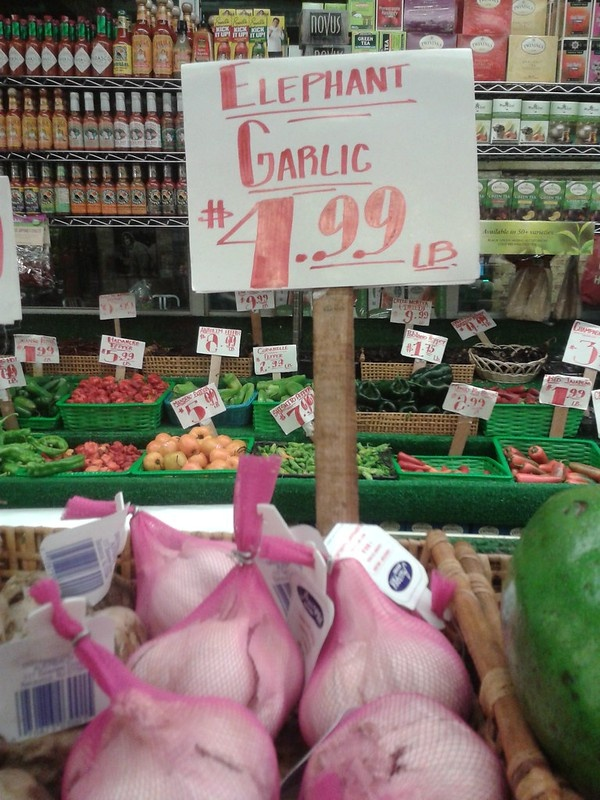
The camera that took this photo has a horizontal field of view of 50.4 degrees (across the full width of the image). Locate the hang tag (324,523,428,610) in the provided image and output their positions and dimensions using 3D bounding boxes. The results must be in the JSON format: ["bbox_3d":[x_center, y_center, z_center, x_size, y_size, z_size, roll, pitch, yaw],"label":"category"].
[{"bbox_3d":[0.125,0.269,1.126,0.116,0.044,0.188,-19,55,-36],"label":"hang tag"}]

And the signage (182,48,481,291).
[{"bbox_3d":[0.066,-0.430,1.190,0.467,0.346,0.063,-3,10,3],"label":"signage"}]

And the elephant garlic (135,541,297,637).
[{"bbox_3d":[-0.171,0.336,1.247,0.246,0.136,0.188,-43,10,-20],"label":"elephant garlic"}]

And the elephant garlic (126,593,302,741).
[{"bbox_3d":[-0.145,0.418,1.016,0.225,0.111,0.186,26,0,28],"label":"elephant garlic"}]

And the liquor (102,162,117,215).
[{"bbox_3d":[-1.389,-1.523,4.614,0.114,0.346,0.146,-10,21,-21],"label":"liquor"}]

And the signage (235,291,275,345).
[{"bbox_3d":[-0.348,-0.666,4.998,0.287,0.497,0.039,-8,42,-7],"label":"signage"}]

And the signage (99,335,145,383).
[{"bbox_3d":[-1.244,-0.287,4.438,0.350,0.336,0.058,7,-6,-6],"label":"signage"}]

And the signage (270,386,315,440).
[{"bbox_3d":[-0.025,0.052,3.492,0.245,0.101,0.242,-32,12,2],"label":"signage"}]

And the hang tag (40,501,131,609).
[{"bbox_3d":[-0.341,0.261,1.047,0.155,0.170,0.048,-20,26,-41],"label":"hang tag"}]

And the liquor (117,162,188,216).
[{"bbox_3d":[-1.081,-1.539,4.670,0.503,0.365,0.325,-4,19,-5],"label":"liquor"}]

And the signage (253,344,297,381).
[{"bbox_3d":[-0.161,-0.254,4.161,0.305,0.282,0.041,-2,29,-1],"label":"signage"}]

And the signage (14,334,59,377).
[{"bbox_3d":[-1.763,-0.307,4.281,0.381,0.362,0.056,-1,27,-9],"label":"signage"}]
